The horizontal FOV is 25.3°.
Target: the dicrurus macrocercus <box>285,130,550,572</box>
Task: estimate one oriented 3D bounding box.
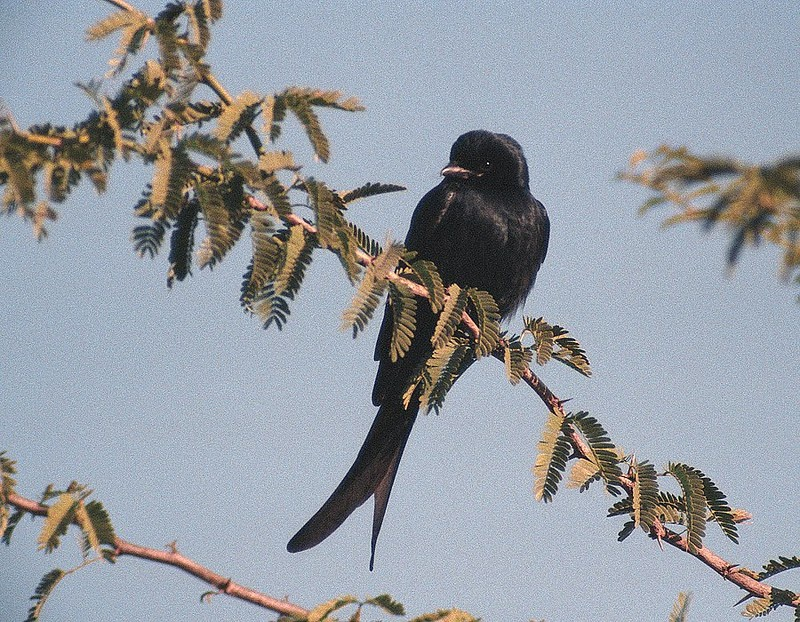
[{"bbox_3d":[0.277,-0.164,9.159,0.864,3.028,0.825,11,-4,36],"label":"dicrurus macrocercus"}]
